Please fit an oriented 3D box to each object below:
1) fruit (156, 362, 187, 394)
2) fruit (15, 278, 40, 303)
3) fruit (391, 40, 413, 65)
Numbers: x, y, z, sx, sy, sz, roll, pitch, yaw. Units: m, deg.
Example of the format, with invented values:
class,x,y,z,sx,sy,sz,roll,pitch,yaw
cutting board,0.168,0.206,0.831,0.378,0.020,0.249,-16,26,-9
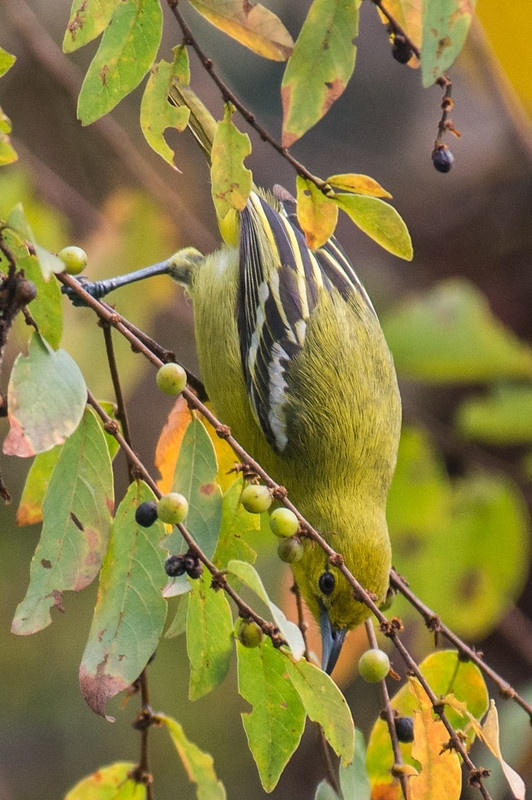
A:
class,x,y,z,sx,sy,sz,roll,pitch,yaw
fruit,-0.190,-0.045,2.487,0.058,0.072,0.061,0,-7,8
fruit,-0.451,-0.209,2.241,0.034,0.036,0.045,31,15,-15
fruit,0.286,-0.736,2.474,0.038,0.049,0.015,-27,7,41
